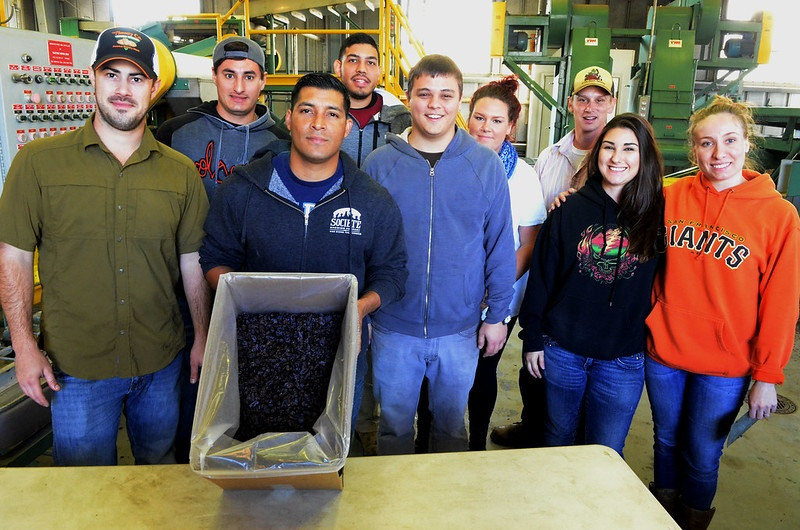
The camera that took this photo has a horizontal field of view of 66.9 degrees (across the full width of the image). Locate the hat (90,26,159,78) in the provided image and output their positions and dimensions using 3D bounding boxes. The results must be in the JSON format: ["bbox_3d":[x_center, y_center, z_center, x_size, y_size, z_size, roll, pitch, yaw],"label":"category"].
[{"bbox_3d":[-1.167,-0.918,2.582,0.201,0.144,0.268,6,18,-23],"label":"hat"}]

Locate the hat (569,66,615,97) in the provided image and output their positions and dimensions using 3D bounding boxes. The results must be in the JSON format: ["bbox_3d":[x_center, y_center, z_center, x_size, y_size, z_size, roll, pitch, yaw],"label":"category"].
[{"bbox_3d":[1.136,-1.051,3.548,0.193,0.154,0.276,3,8,17],"label":"hat"}]

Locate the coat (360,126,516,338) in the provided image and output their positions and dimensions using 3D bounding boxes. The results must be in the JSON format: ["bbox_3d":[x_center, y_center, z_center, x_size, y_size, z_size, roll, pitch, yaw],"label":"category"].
[{"bbox_3d":[0.162,-0.174,3.041,0.904,0.932,0.451,3,12,6],"label":"coat"}]

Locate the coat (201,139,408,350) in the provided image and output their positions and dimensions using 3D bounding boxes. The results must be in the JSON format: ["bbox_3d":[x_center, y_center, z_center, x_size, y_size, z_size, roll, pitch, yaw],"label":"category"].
[{"bbox_3d":[-0.318,-0.023,2.962,1.161,1.090,0.627,3,23,-8],"label":"coat"}]

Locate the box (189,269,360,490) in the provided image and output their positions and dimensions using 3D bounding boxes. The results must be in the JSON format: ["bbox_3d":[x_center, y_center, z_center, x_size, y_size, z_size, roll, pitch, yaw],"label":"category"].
[{"bbox_3d":[-0.434,0.422,2.201,0.560,0.679,0.573,-1,18,-4],"label":"box"}]

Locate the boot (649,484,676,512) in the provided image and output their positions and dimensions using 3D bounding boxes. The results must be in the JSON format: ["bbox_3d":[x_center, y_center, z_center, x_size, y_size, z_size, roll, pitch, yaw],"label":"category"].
[{"bbox_3d":[1.337,1.180,3.055,0.096,0.149,0.110,-11,-5,30],"label":"boot"}]

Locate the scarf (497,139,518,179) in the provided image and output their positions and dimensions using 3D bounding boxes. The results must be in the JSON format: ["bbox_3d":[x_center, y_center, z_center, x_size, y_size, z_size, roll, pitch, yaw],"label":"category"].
[{"bbox_3d":[0.588,-0.567,3.243,0.153,0.192,0.062,-2,-3,3],"label":"scarf"}]

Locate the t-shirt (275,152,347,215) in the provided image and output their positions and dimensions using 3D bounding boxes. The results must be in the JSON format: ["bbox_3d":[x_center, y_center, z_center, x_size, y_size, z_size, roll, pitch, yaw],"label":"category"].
[{"bbox_3d":[-0.436,-0.351,2.719,0.229,0.277,0.107,4,-6,-6],"label":"t-shirt"}]
